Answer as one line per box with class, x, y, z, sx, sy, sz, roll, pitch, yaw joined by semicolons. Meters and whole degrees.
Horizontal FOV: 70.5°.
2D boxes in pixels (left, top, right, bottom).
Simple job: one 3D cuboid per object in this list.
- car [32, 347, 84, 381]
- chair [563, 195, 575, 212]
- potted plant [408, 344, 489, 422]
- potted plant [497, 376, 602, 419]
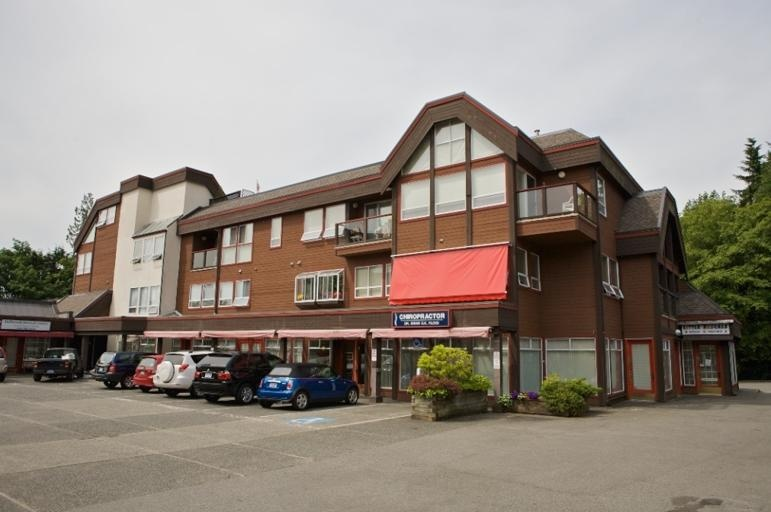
car;-21.679;7.081;36.118;1.809;1.561;3.641;0;-13;-15
chair;8.654;-2.423;25.832;0.612;0.957;0.642;-2;-12;28
potted plant;2.701;5.436;23.444;3.604;3.121;1.158;13;-19;-39
potted plant;7.243;6.151;23.963;3.747;1.730;0.911;-7;-16;21
